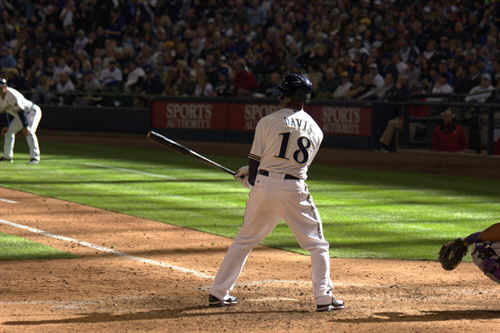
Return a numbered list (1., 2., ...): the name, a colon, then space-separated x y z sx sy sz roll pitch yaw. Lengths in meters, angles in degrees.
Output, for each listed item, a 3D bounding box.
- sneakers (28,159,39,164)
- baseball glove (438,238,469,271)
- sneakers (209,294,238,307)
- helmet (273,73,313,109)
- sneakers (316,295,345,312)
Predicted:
1. sneakers: -6.237 -0.138 23.192 0.355 0.113 0.110 -3 18 -8
2. baseball glove: 3.878 1.656 15.379 0.689 0.484 0.254 -35 15 1
3. sneakers: -0.573 2.506 15.135 0.633 0.210 0.203 -1 3 -12
4. helmet: 0.840 -1.414 15.000 0.765 0.458 0.478 15 14 7
5. sneakers: 1.523 2.552 15.052 0.595 0.206 0.228 -4 3 -25
